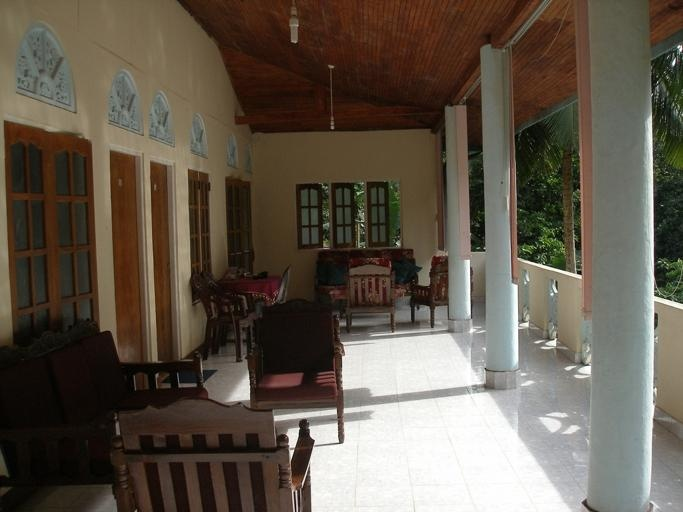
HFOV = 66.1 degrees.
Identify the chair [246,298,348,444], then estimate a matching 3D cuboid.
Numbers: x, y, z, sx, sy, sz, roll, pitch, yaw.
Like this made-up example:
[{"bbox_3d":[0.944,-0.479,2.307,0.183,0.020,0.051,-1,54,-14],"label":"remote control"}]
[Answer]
[{"bbox_3d":[-0.429,1.129,5.322,0.989,1.449,0.839,-2,-2,-9],"label":"chair"}]
